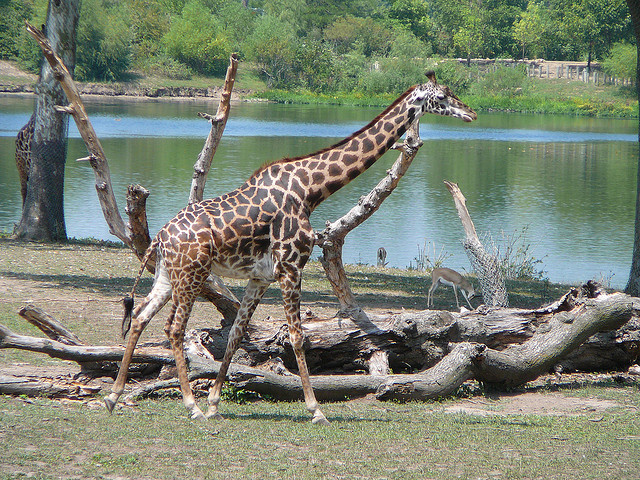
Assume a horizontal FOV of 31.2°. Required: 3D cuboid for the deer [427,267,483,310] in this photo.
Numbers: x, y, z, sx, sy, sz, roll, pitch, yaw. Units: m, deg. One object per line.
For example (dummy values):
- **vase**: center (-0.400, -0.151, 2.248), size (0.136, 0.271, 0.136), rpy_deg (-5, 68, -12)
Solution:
- **deer**: center (3.659, 1.279, 32.056), size (1.310, 1.148, 1.191), rpy_deg (0, 8, -1)
